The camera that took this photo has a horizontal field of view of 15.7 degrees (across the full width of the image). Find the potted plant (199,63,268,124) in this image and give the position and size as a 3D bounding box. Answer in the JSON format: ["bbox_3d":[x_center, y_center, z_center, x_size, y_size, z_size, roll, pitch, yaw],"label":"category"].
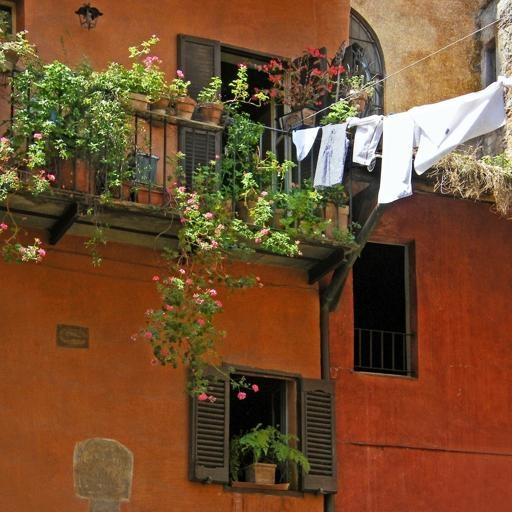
[{"bbox_3d":[-0.213,-1.570,18.998,0.789,0.596,0.704,2,-2,1],"label":"potted plant"}]

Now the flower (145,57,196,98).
[{"bbox_3d":[-0.909,-1.646,18.361,0.402,0.385,0.512,8,1,-1],"label":"flower"}]

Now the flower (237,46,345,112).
[{"bbox_3d":[0.538,-1.795,19.583,0.710,0.882,0.776,-1,-5,12],"label":"flower"}]

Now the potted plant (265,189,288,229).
[{"bbox_3d":[0.239,-0.435,18.486,0.305,0.362,0.311,1,-1,-17],"label":"potted plant"}]

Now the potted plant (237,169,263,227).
[{"bbox_3d":[-0.071,-0.537,18.433,0.206,0.512,0.661,5,-4,-1],"label":"potted plant"}]

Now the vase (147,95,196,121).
[{"bbox_3d":[-0.815,-1.424,18.312,0.266,0.136,0.297,8,-16,-22],"label":"vase"}]
